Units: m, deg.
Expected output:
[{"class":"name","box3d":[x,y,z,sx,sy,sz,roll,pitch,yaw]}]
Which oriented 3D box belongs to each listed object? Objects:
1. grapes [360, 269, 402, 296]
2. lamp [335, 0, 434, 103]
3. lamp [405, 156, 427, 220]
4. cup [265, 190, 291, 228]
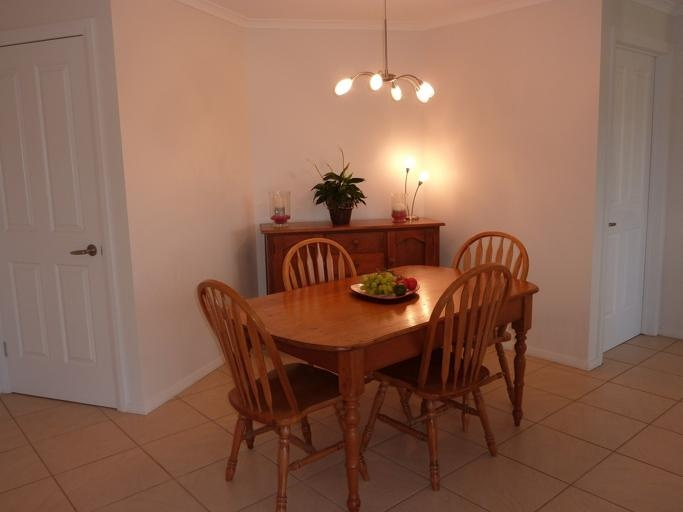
[{"class":"grapes","box3d":[0.261,0.169,3.211,0.195,0.119,0.143,9,6,30]},{"class":"lamp","box3d":[0.383,-1.913,4.712,0.777,0.851,0.756,12,22,36]},{"class":"lamp","box3d":[0.736,-0.664,5.009,0.247,0.557,0.385,-1,13,9]},{"class":"cup","box3d":[-0.553,-0.438,4.621,0.245,0.419,0.266,0,8,0]}]
